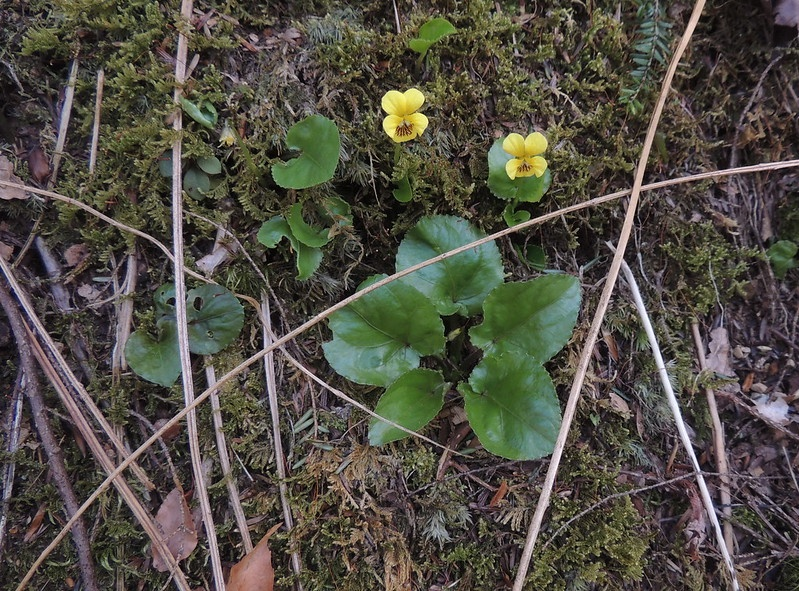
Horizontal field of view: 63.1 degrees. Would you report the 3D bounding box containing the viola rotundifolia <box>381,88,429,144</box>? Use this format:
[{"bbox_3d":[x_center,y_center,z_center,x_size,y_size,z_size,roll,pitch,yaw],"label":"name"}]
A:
[{"bbox_3d":[0.017,-0.755,2.728,0.207,0.239,0.076,-7,67,4],"label":"viola rotundifolia"}]

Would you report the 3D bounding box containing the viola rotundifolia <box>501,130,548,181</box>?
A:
[{"bbox_3d":[0.541,-0.613,2.810,0.189,0.225,0.091,7,81,2],"label":"viola rotundifolia"}]
